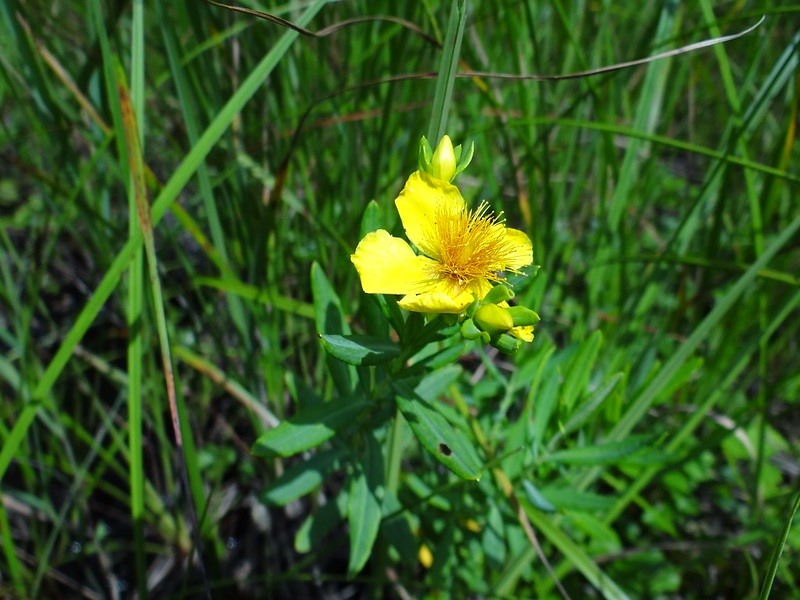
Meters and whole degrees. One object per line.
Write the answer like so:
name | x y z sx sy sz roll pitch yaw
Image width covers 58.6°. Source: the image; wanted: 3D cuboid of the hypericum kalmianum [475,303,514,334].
hypericum kalmianum | 0.236 0.047 1.790 0.080 0.057 0.066 28 56 19

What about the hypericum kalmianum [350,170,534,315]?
hypericum kalmianum | 0.124 -0.154 1.897 0.494 0.229 0.259 8 41 -7

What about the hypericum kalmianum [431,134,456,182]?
hypericum kalmianum | 0.124 -0.394 1.929 0.070 0.107 0.105 14 40 3

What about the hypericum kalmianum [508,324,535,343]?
hypericum kalmianum | 0.327 0.093 1.924 0.060 0.028 0.065 -5 42 -38
